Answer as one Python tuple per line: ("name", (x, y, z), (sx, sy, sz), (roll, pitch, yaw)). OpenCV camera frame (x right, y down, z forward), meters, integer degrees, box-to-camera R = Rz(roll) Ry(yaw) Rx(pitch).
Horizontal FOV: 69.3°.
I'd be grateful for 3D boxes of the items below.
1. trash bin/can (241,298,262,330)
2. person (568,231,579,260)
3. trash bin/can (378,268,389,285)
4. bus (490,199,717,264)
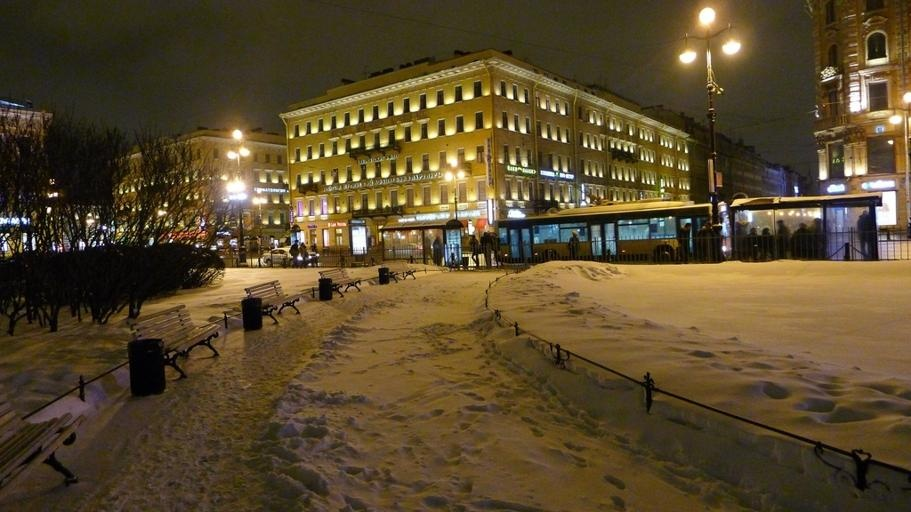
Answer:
("trash bin/can", (-6.775, 1.959, 22.251), (0.909, 1.494, 0.929), (1, -5, -17))
("person", (6.736, -0.660, 37.415), (0.610, 1.567, 1.815), (-3, 0, 9))
("trash bin/can", (-3.293, 0.908, 31.462), (0.667, 0.741, 0.660), (0, -2, -25))
("bus", (8.308, -1.308, 37.832), (14.549, 4.240, 4.326), (-3, 1, 36))
